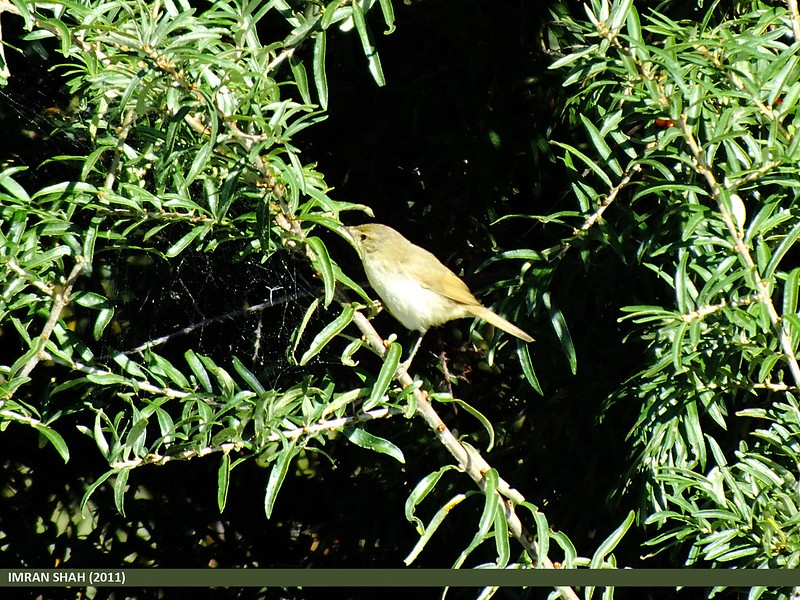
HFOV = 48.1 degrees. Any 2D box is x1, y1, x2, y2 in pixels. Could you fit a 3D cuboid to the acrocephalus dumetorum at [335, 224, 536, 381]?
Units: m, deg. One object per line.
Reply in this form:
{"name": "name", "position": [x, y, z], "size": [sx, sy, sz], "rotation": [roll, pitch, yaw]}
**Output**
{"name": "acrocephalus dumetorum", "position": [0.063, -0.076, 4.670], "size": [1.349, 0.995, 0.477], "rotation": [2, 12, 2]}
